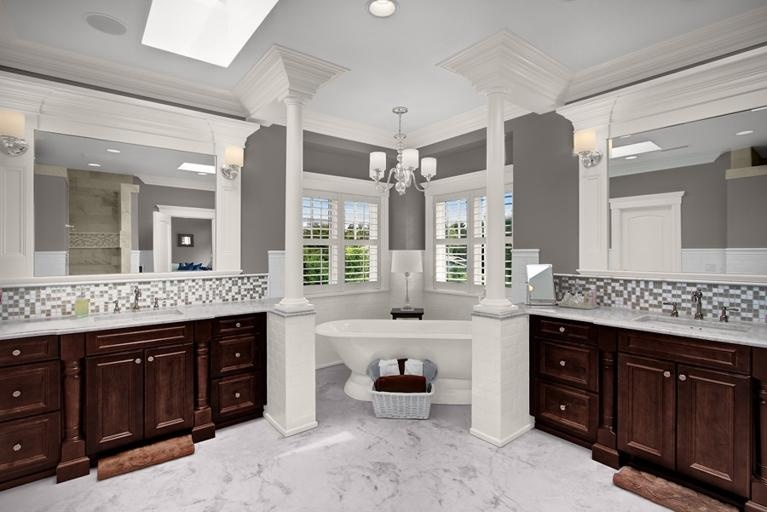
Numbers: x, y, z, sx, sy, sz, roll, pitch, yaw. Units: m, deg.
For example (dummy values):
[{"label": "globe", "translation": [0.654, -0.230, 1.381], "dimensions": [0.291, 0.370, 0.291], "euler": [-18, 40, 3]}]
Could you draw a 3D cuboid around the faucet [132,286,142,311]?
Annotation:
[{"label": "faucet", "translation": [-2.584, 0.440, 4.882], "dimensions": [0.084, 0.248, 0.155], "euler": [-1, -2, -26]}]

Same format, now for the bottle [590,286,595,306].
[{"label": "bottle", "translation": [2.222, 0.434, 4.933], "dimensions": [0.056, 0.152, 0.104], "euler": [-3, -2, 24]}]

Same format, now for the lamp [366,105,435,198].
[{"label": "lamp", "translation": [0.223, -1.363, 5.946], "dimensions": [0.988, 1.059, 0.986], "euler": [-4, 9, -28]}]

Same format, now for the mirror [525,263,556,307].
[{"label": "mirror", "translation": [1.762, 0.340, 5.151], "dimensions": [0.333, 0.286, 0.503], "euler": [6, -26, 32]}]

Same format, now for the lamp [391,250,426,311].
[{"label": "lamp", "translation": [0.355, 0.341, 6.837], "dimensions": [0.513, 0.871, 0.768], "euler": [-2, -2, 5]}]

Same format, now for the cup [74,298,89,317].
[{"label": "cup", "translation": [-2.978, 0.506, 4.616], "dimensions": [0.073, 0.175, 0.124], "euler": [-2, -2, 14]}]

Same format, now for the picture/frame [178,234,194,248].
[{"label": "picture/frame", "translation": [-2.212, -0.174, 5.184], "dimensions": [0.164, 0.131, 0.020], "euler": [1, -4, -39]}]

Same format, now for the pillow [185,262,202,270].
[{"label": "pillow", "translation": [-2.141, 0.113, 5.207], "dimensions": [0.099, 0.098, 0.029], "euler": [-6, 43, -25]}]

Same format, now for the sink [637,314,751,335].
[{"label": "sink", "translation": [2.853, 0.618, 4.328], "dimensions": [0.876, 0.156, 0.248], "euler": [-3, -2, 25]}]

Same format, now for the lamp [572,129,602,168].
[{"label": "lamp", "translation": [2.176, -1.143, 4.966], "dimensions": [0.299, 0.331, 0.252], "euler": [-3, -2, 26]}]

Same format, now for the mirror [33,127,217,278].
[{"label": "mirror", "translation": [-2.685, -0.677, 4.801], "dimensions": [1.955, 1.510, 0.078], "euler": [7, 16, 3]}]

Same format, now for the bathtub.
[{"label": "bathtub", "translation": [0.213, 1.253, 5.553], "dimensions": [1.659, 0.931, 0.738], "euler": [-2, -2, 10]}]

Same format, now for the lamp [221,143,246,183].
[{"label": "lamp", "translation": [-1.738, -1.080, 5.427], "dimensions": [0.247, 0.363, 0.239], "euler": [0, 5, -36]}]

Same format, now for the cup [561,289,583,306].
[{"label": "cup", "translation": [2.047, 0.454, 5.048], "dimensions": [0.242, 0.139, 0.284], "euler": [-3, -2, 28]}]
